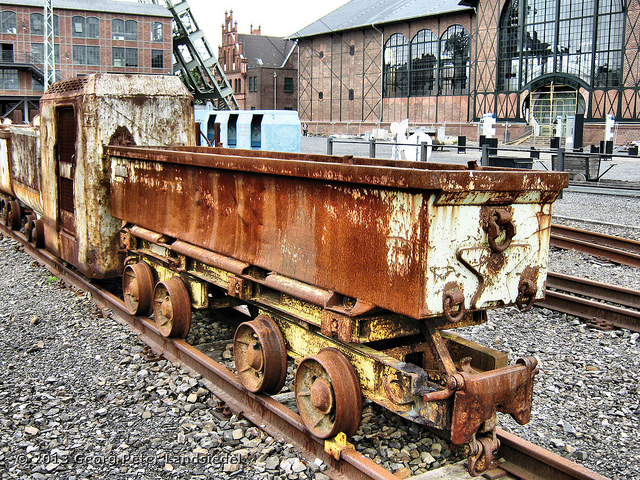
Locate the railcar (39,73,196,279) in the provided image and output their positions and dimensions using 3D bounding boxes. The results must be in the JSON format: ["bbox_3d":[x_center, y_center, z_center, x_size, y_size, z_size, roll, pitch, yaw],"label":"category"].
[{"bbox_3d":[-3.556,-1.127,9.810,2.924,4.568,2.885,-6,11,-41],"label":"railcar"}]

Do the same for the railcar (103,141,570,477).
[{"bbox_3d":[-0.773,0.132,5.858,6.394,2.440,1.689,13,18,41],"label":"railcar"}]

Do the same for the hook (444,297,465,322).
[{"bbox_3d":[0.995,0.518,3.775,0.196,0.204,0.055,-9,15,-35],"label":"hook"}]

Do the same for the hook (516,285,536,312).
[{"bbox_3d":[1.693,0.473,4.172,0.075,0.229,0.260,12,17,43],"label":"hook"}]
